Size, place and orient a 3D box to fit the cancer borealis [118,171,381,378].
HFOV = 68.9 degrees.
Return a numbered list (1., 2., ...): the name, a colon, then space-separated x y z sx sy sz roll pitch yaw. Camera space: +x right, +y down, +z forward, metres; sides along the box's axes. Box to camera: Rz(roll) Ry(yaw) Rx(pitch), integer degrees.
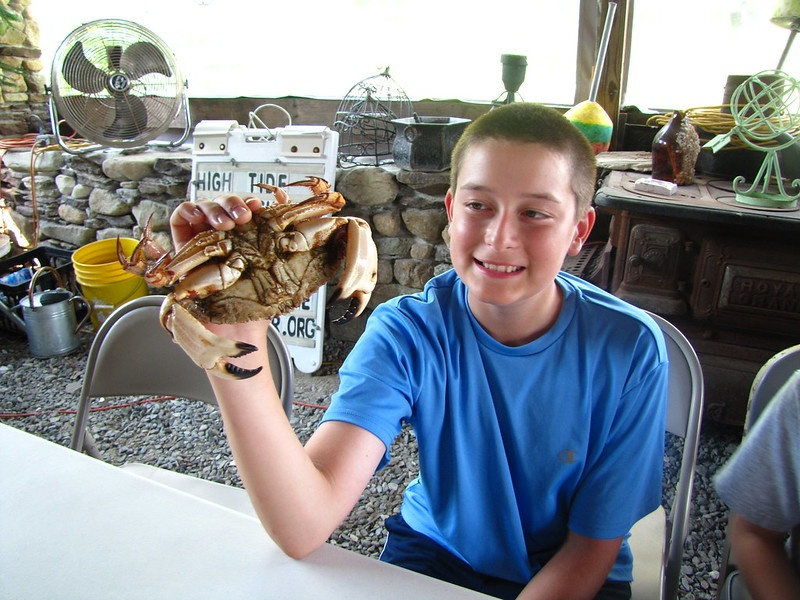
1. cancer borealis: -0.348 -0.060 1.413 0.519 0.448 0.472 21 24 37
